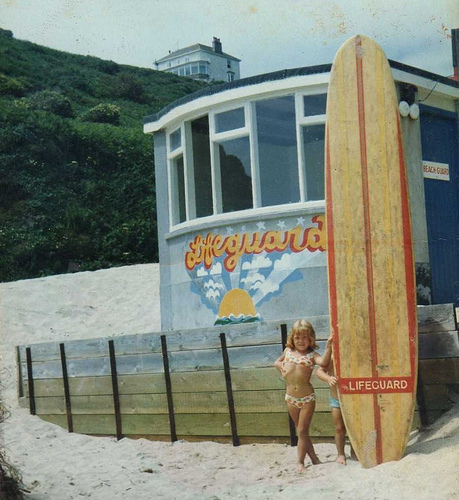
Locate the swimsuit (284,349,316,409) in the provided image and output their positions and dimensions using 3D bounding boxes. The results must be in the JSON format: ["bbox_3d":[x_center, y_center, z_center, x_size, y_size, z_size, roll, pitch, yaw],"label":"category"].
[{"bbox_3d":[0.686,1.232,9.471,0.329,0.532,0.259,-8,10,9],"label":"swimsuit"}]

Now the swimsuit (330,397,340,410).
[{"bbox_3d":[1.046,1.520,9.717,0.078,0.139,0.107,-1,-6,-2],"label":"swimsuit"}]

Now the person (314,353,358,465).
[{"bbox_3d":[1.032,1.591,9.605,0.307,1.161,0.130,-6,-5,-11],"label":"person"}]

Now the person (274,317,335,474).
[{"bbox_3d":[0.804,1.382,9.693,0.607,1.487,1.091,-8,10,4],"label":"person"}]

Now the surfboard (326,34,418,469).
[{"bbox_3d":[1.367,-0.075,9.738,0.932,4.070,1.452,-7,10,10],"label":"surfboard"}]
